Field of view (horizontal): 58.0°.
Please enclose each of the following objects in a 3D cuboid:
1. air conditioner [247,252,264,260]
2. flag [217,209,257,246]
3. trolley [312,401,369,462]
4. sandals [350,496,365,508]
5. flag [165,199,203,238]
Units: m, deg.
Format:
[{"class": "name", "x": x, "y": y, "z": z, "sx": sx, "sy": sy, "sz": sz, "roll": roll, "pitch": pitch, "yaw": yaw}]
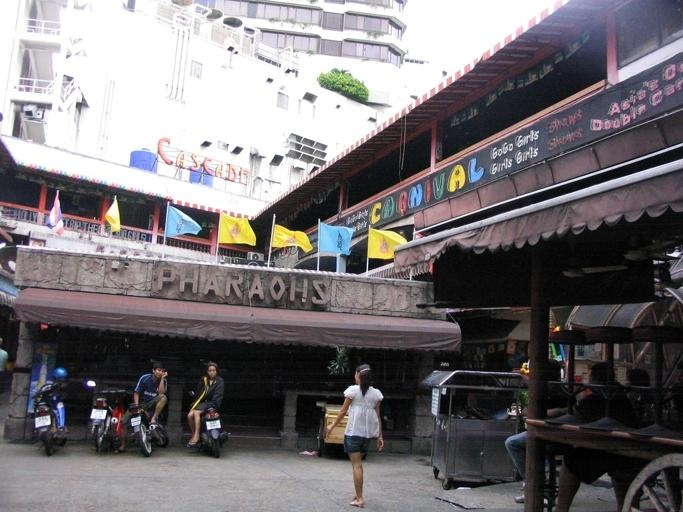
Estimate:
[{"class": "air conditioner", "x": -5.075, "y": -0.063, "z": 36.263, "sx": 0.979, "sy": 0.459, "sz": 0.739, "roll": 4, "pitch": -8, "yaw": -6}, {"class": "flag", "x": -4.367, "y": -1.172, "z": 25.549, "sx": 2.152, "sy": 1.920, "sz": 0.312, "roll": 13, "pitch": -36, "yaw": -28}, {"class": "trolley", "x": 0.043, "y": 4.640, "z": 14.872, "sx": 1.187, "sy": 1.329, "sz": 1.710, "roll": 7, "pitch": -42, "yaw": -3}, {"class": "sandals", "x": 0.248, "y": 3.808, "z": 9.625, "sx": 0.236, "sy": 0.147, "sz": 0.369, "roll": 3, "pitch": -8, "yaw": 3}, {"class": "flag", "x": -5.307, "y": -1.076, "z": 20.212, "sx": 0.657, "sy": 1.099, "sz": 1.997, "roll": 3, "pitch": -8, "yaw": 1}]
